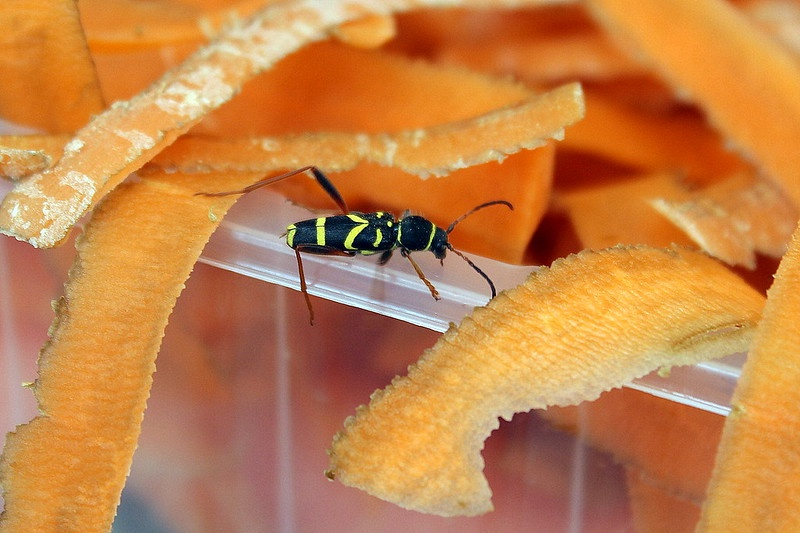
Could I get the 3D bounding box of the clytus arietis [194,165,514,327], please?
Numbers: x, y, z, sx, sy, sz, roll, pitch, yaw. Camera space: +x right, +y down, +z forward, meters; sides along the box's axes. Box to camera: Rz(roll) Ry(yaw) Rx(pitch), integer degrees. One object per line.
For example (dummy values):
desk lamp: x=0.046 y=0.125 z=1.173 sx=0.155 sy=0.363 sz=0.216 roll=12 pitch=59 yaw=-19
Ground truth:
clytus arietis: x=-0.049 y=-0.031 z=1.217 sx=0.338 sy=0.077 sz=0.208 roll=3 pitch=52 yaw=-4
